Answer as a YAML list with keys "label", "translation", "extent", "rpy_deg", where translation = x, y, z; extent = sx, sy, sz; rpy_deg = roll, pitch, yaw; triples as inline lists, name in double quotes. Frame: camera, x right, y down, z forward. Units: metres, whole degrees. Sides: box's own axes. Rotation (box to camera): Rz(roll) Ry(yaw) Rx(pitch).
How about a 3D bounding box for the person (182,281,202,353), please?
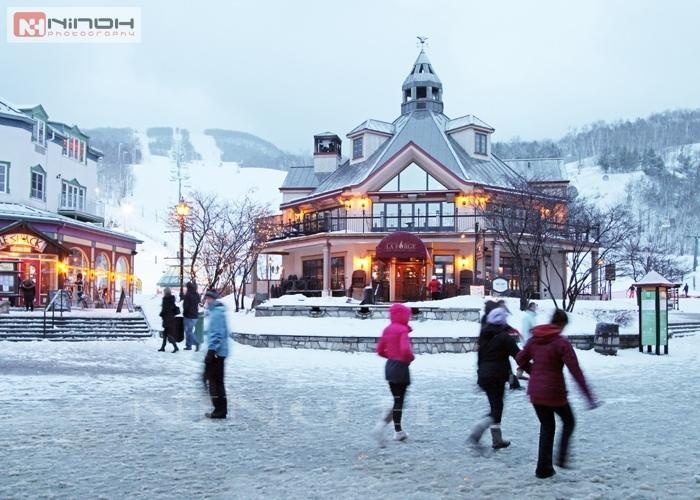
- label: "person"
  translation: [-4.909, 2.076, 23.777]
  extent: [0.475, 2.109, 1.329]
  rpy_deg: [0, -4, -12]

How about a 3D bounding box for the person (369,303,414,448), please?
- label: "person"
  translation: [0.839, 2.323, 14.610]
  extent: [0.679, 2.569, 1.110]
  rpy_deg: [0, -4, 2]

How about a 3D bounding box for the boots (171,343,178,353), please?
- label: "boots"
  translation: [-5.445, 3.099, 24.015]
  extent: [0.188, 0.272, 0.478]
  rpy_deg: [1, -4, -13]

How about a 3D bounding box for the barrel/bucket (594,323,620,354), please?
- label: "barrel/bucket"
  translation: [8.597, 3.039, 25.840]
  extent: [0.866, 1.003, 0.864]
  rpy_deg: [0, -5, 0]

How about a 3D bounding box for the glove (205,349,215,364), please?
- label: "glove"
  translation: [-2.802, 2.160, 15.367]
  extent: [0.211, 0.279, 0.160]
  rpy_deg: [0, -4, 3]

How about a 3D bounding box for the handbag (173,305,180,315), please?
- label: "handbag"
  translation: [-5.549, 1.944, 24.528]
  extent: [0.205, 0.316, 0.284]
  rpy_deg: [1, -1, -12]

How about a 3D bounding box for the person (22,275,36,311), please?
- label: "person"
  translation: [-14.370, 2.032, 34.416]
  extent: [0.445, 1.432, 1.221]
  rpy_deg: [1, -4, -24]

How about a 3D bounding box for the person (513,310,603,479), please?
- label: "person"
  translation: [3.290, 2.374, 12.561]
  extent: [1.124, 2.756, 0.527]
  rpy_deg: [-1, -4, 19]

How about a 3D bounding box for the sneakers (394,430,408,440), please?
- label: "sneakers"
  translation: [0.944, 3.470, 14.288]
  extent: [0.217, 0.164, 0.128]
  rpy_deg: [-6, 0, -15]
